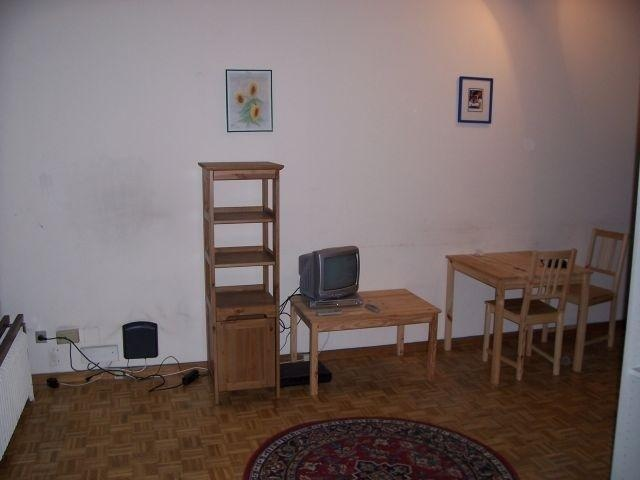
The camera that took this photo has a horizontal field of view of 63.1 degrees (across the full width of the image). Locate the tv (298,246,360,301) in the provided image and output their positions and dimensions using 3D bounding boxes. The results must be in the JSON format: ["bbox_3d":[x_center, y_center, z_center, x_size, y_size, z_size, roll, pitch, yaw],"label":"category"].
[{"bbox_3d":[0.057,0.240,4.841,0.479,0.488,0.478,-5,9,-30],"label":"tv"}]

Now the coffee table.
[{"bbox_3d":[0.401,0.905,4.900,1.225,0.699,0.781,-2,12,-20],"label":"coffee table"}]

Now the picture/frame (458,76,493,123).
[{"bbox_3d":[1.525,-1.422,5.177,0.417,0.517,0.032,-2,6,-22],"label":"picture/frame"}]

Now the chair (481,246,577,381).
[{"bbox_3d":[2.001,0.646,4.891,0.710,1.191,0.437,-4,10,-16],"label":"chair"}]

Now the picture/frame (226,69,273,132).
[{"bbox_3d":[-0.649,-1.285,4.680,0.501,0.666,0.026,-2,5,-16],"label":"picture/frame"}]

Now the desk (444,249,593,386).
[{"bbox_3d":[2.114,0.646,5.070,1.170,0.890,1.199,0,3,-18],"label":"desk"}]

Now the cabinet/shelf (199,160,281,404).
[{"bbox_3d":[-0.643,0.314,4.542,0.734,1.982,0.633,-4,10,-14],"label":"cabinet/shelf"}]
